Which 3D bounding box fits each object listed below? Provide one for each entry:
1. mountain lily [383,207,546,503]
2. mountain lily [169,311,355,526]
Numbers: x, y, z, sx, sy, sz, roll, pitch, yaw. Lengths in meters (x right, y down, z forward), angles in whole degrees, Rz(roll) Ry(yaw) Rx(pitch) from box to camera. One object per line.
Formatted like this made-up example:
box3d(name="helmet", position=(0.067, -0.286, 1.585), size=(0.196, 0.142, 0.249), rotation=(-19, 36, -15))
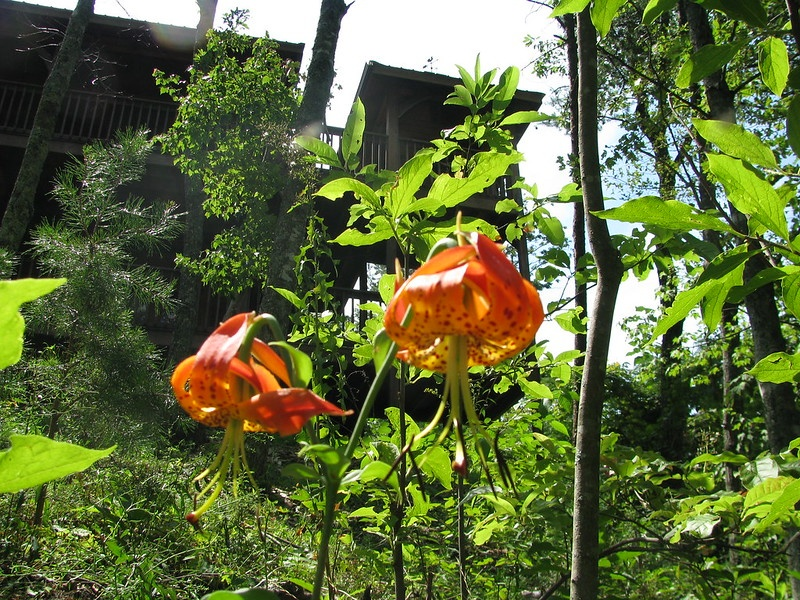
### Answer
box3d(name="mountain lily", position=(0.165, 0.156, 1.792), size=(0.471, 0.772, 0.482), rotation=(-3, -20, 27))
box3d(name="mountain lily", position=(-0.443, 0.333, 1.768), size=(0.374, 0.481, 0.337), rotation=(-27, -40, 34))
